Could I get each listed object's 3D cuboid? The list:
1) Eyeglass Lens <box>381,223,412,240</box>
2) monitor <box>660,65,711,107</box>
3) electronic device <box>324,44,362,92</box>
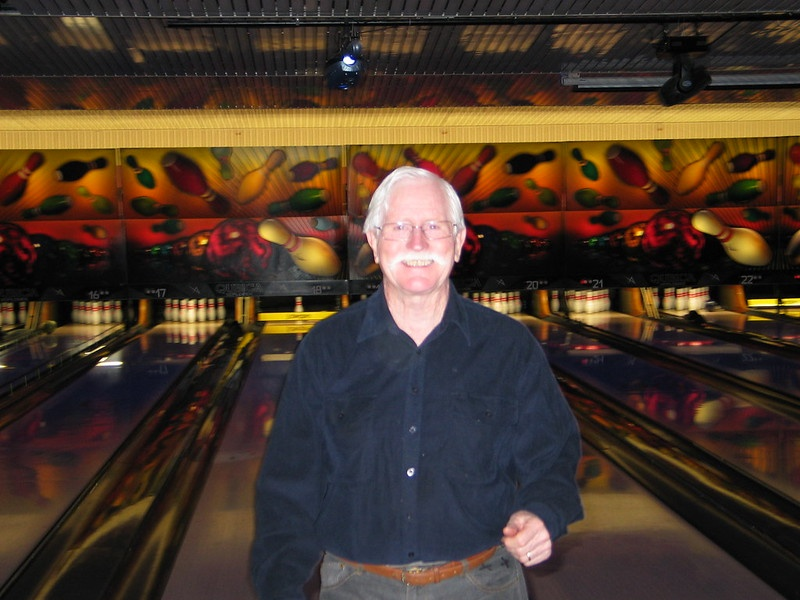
[{"bbox_3d":[-0.009,-0.136,1.025,0.050,0.017,0.042,0,2,4],"label":"Eyeglass Lens"},{"bbox_3d":[2.067,-1.620,3.626,0.320,0.232,0.198,3,31,25],"label":"monitor"},{"bbox_3d":[-0.370,-1.555,3.375,0.190,0.239,0.378,-8,14,-25],"label":"electronic device"}]
